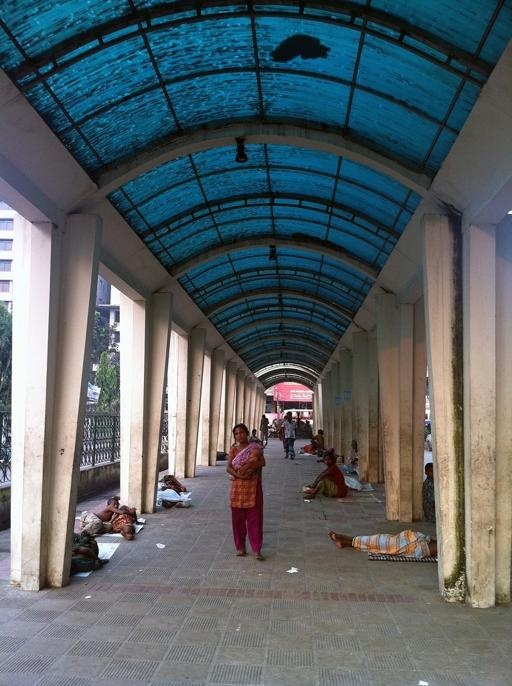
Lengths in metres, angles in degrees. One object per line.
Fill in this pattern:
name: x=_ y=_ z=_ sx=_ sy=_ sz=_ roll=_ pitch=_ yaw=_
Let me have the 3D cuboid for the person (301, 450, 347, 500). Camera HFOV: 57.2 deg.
person: x=2.066 y=3.674 z=12.926 sx=1.544 sy=1.762 sz=1.114 roll=2 pitch=-16 yaw=3
